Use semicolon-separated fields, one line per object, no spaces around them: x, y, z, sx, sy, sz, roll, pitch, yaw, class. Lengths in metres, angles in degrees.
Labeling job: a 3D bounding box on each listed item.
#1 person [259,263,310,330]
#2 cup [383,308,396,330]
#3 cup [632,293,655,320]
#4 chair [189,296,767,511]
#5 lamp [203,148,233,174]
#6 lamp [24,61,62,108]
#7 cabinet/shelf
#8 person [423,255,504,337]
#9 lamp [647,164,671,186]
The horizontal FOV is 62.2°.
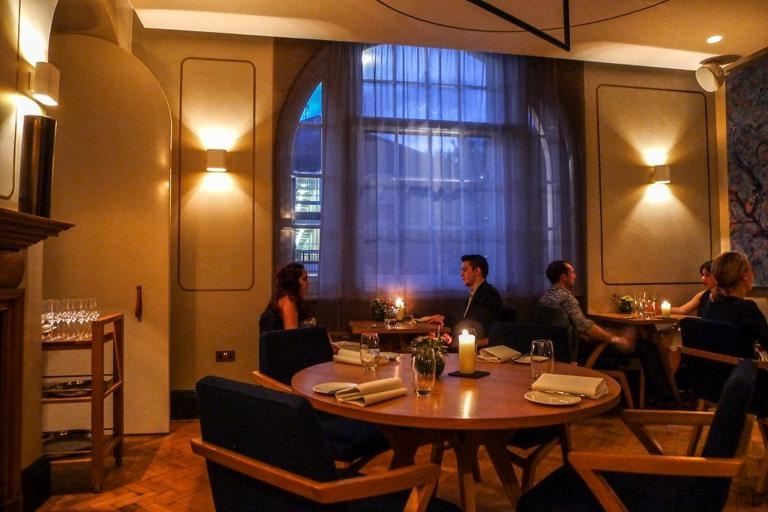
-0.854;0.379;5.738;0.475;0.817;0.715;0;-5;-17;person
0.065;0.601;6.146;0.141;0.246;0.152;-2;-3;0;cup
2.762;0.530;6.762;0.236;0.280;0.244;-1;-6;0;cup
0.781;1.117;3.758;2.752;0.917;1.129;-2;3;3;chair
-1.653;-0.925;6.293;0.217;0.217;0.223;0;-1;-4;lamp
-2.488;-1.260;4.651;0.183;0.305;0.185;-2;3;0;lamp
-2.409;1.127;5.153;0.616;1.283;0.917;-4;3;-26;cabinet/shelf
0.770;0.422;6.276;0.756;0.960;0.665;3;-10;-3;person
3.134;-0.913;7.256;0.256;0.269;0.198;0;-4;6;lamp
